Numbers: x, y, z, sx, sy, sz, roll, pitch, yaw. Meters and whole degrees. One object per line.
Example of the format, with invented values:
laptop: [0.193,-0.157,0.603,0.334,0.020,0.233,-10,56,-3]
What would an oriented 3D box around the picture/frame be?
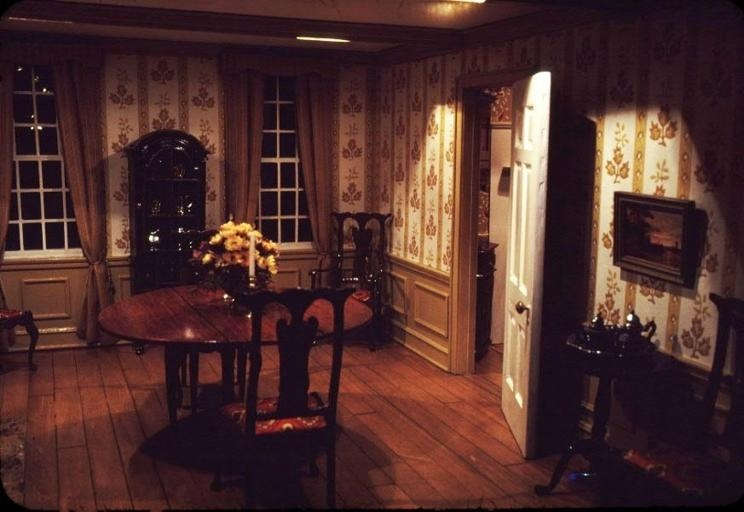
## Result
picture/frame: [1.933,-0.122,4.013,0.081,0.531,0.599,-2,10,-23]

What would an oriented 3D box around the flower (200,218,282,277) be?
flower: [-0.948,-0.003,4.558,0.449,0.298,0.463,10,-1,19]

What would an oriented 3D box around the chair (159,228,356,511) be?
chair: [-0.776,0.611,4.242,0.981,1.106,1.968,0,7,-10]
